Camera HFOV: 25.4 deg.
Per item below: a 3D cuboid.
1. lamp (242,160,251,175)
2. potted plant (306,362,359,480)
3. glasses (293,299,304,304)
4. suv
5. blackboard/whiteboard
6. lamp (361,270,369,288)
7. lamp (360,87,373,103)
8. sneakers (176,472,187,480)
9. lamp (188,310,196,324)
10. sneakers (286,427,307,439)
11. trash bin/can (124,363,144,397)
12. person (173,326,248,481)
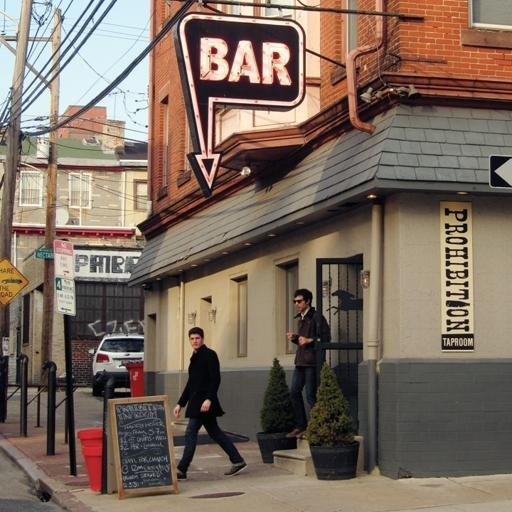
[{"bbox_3d":[-0.177,-1.416,18.505,0.154,0.301,0.158,4,-4,1],"label":"lamp"},{"bbox_3d":[0.961,2.132,14.711,0.731,1.443,0.692,-3,-6,-13],"label":"potted plant"},{"bbox_3d":[0.575,0.640,15.853,0.111,0.038,0.106,11,-12,-37],"label":"glasses"},{"bbox_3d":[-3.638,3.006,29.239,1.775,1.551,2.953,1,-2,-10],"label":"suv"},{"bbox_3d":[-1.365,2.260,13.822,0.742,1.140,0.579,-5,14,4],"label":"blackboard/whiteboard"},{"bbox_3d":[1.432,0.311,15.128,0.092,0.222,0.158,4,-9,-26],"label":"lamp"},{"bbox_3d":[1.438,-2.138,15.054,0.118,0.205,0.209,6,-10,-36],"label":"lamp"},{"bbox_3d":[-0.975,2.832,14.544,0.155,0.069,0.058,10,-12,-20],"label":"sneakers"},{"bbox_3d":[-1.307,1.240,22.641,0.210,0.315,0.201,1,-4,-21],"label":"lamp"},{"bbox_3d":[0.552,2.476,15.835,0.308,0.220,0.106,2,-13,11],"label":"sneakers"},{"bbox_3d":[-2.743,2.805,25.616,0.377,0.795,1.212,1,-9,-6],"label":"trash bin/can"},{"bbox_3d":[-0.722,1.918,14.822,0.637,1.985,1.071,-5,-10,35],"label":"person"}]
